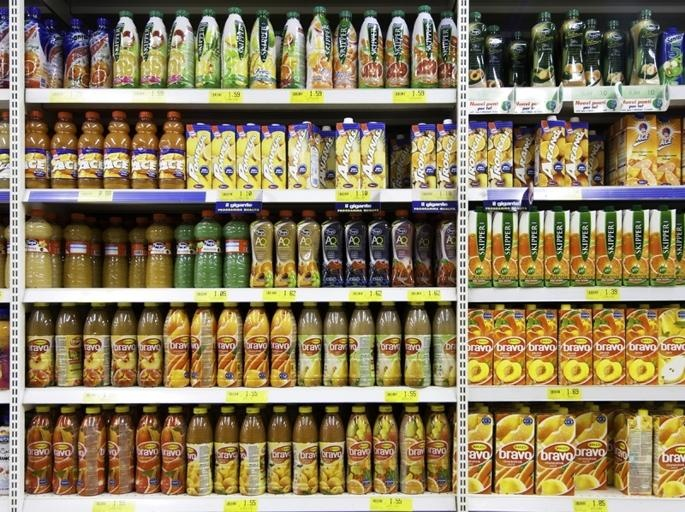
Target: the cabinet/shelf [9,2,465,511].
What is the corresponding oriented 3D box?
[{"bbox_3d":[-0.543,0.062,3.867,2.860,2.992,0.979,0,-4,-3],"label":"cabinet/shelf"}]
